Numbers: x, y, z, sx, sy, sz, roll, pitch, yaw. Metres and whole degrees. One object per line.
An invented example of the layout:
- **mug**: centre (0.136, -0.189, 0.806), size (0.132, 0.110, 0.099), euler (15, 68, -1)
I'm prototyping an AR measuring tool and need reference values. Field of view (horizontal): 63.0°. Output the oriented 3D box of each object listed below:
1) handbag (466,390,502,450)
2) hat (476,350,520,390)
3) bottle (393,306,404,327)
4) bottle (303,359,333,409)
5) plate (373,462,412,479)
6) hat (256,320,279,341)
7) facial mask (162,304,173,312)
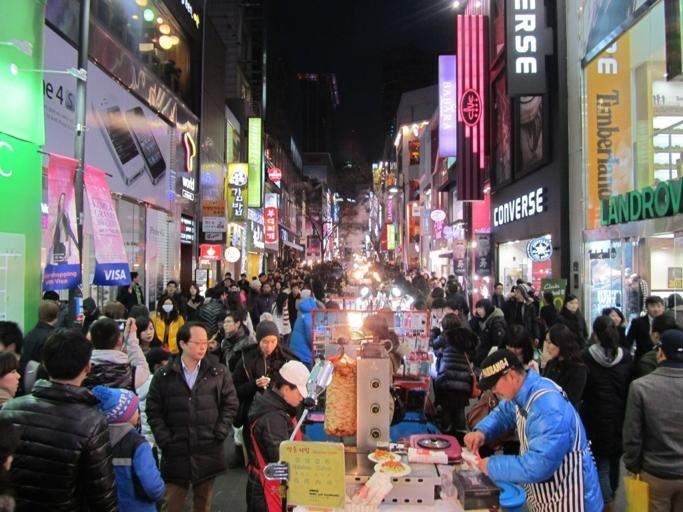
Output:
- **handbag**: centre (1.835, 2.007, 7.226), size (0.407, 0.533, 0.713), euler (-2, -6, 16)
- **hat**: centre (1.435, 1.040, 5.242), size (0.415, 0.227, 0.299), euler (-36, 4, 3)
- **bottle**: centre (1.023, 1.062, 9.525), size (0.221, 0.365, 0.240), euler (0, -4, 0)
- **bottle**: centre (-0.180, 1.048, 4.640), size (0.178, 0.410, 0.134), euler (5, -39, 28)
- **plate**: centre (0.481, 1.969, 5.115), size (0.342, 0.136, 0.185), euler (1, -6, -12)
- **hat**: centre (-0.994, 0.979, 7.401), size (0.248, 0.278, 0.239), euler (1, -3, 30)
- **facial mask**: centre (-3.326, 0.998, 10.669), size (0.130, 0.104, 0.157), euler (2, 6, -22)
